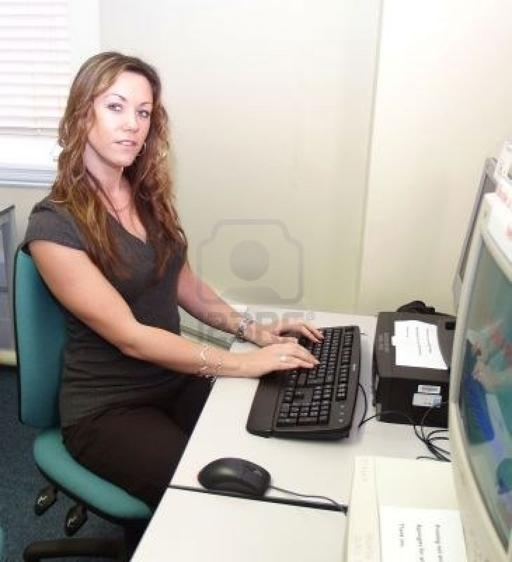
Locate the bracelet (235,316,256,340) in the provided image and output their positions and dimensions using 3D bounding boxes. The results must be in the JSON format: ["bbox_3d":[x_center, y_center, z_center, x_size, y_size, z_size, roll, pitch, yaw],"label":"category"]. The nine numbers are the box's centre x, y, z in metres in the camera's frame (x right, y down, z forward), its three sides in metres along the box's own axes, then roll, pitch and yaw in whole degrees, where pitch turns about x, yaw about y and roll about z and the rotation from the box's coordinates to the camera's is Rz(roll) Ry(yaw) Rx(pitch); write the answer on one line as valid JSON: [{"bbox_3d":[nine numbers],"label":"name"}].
[{"bbox_3d":[-0.028,0.131,1.270,0.056,0.016,0.057,10,68,47],"label":"bracelet"}]

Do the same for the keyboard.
[{"bbox_3d":[0.124,0.225,1.003,0.212,0.072,0.444,1,17,15],"label":"keyboard"}]

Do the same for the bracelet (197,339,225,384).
[{"bbox_3d":[-0.110,0.191,1.091,0.096,0.036,0.072,-42,26,17],"label":"bracelet"}]

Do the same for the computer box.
[{"bbox_3d":[0.356,0.189,0.973,0.184,0.123,0.259,2,25,15],"label":"computer box"}]

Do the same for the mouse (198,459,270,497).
[{"bbox_3d":[-0.036,0.308,0.690,0.085,0.031,0.055,2,18,8],"label":"mouse"}]
